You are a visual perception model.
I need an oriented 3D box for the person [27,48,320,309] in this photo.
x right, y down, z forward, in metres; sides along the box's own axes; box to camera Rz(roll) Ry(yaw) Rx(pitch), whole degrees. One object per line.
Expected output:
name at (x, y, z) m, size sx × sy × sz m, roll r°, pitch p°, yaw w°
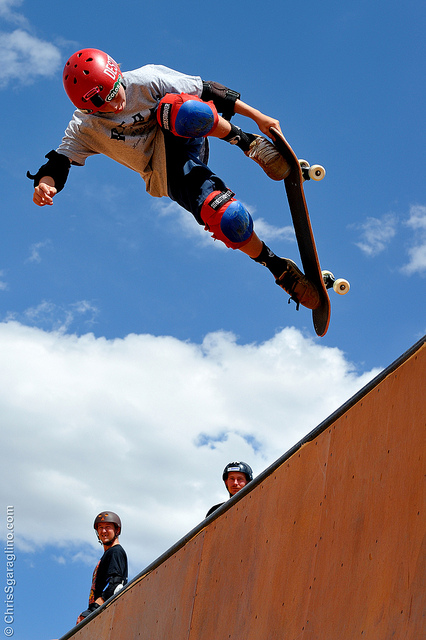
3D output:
person at (-0.147, -1.044, 6.372) m, size 2.030 × 1.331 × 0.767 m, roll 41°, pitch 7°, yaw -19°

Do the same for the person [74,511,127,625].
person at (-0.747, 1.706, 6.712) m, size 0.293 × 0.794 × 1.106 m, roll 7°, pitch -17°, yaw -6°

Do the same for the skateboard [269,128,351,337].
skateboard at (0.519, -0.542, 5.820) m, size 0.191 × 1.309 × 0.310 m, roll -22°, pitch 17°, yaw -22°
